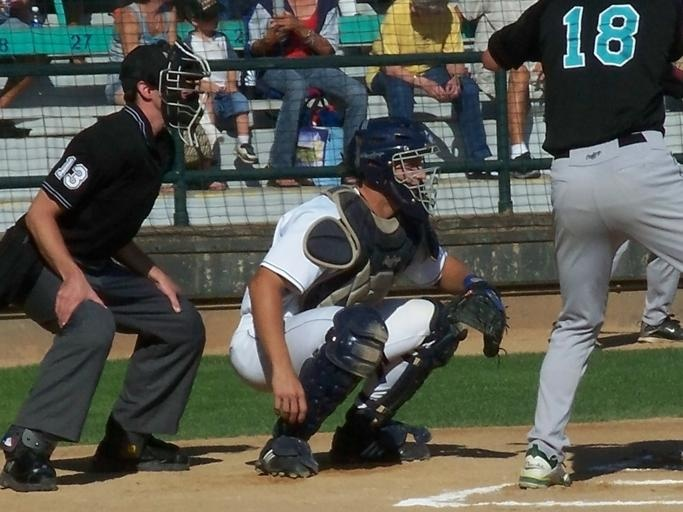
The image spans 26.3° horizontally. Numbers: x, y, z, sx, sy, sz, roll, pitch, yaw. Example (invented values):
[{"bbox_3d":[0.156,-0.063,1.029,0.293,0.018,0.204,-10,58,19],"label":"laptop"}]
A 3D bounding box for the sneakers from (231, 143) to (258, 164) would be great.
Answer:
[{"bbox_3d":[-0.738,-0.792,11.215,0.102,0.097,0.205,-19,33,-42],"label":"sneakers"}]

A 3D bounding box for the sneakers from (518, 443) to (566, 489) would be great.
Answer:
[{"bbox_3d":[1.083,1.059,7.723,0.183,0.214,0.494,5,8,25],"label":"sneakers"}]

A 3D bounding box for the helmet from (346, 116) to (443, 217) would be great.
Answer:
[{"bbox_3d":[0.269,-0.524,8.095,0.517,0.515,0.439,13,17,24],"label":"helmet"}]

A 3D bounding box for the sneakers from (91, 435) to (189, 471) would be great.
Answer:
[{"bbox_3d":[-1.143,1.130,8.131,0.392,0.136,0.251,-3,-5,10],"label":"sneakers"}]

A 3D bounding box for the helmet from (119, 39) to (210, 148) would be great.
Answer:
[{"bbox_3d":[-1.010,-0.934,8.169,0.522,0.584,0.479,3,7,13],"label":"helmet"}]

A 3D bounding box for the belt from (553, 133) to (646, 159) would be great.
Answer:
[{"bbox_3d":[1.351,-0.570,7.562,0.470,0.145,0.071,2,11,18],"label":"belt"}]

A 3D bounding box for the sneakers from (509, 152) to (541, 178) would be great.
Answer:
[{"bbox_3d":[1.431,-0.681,11.290,0.122,0.226,0.340,1,10,-1],"label":"sneakers"}]
